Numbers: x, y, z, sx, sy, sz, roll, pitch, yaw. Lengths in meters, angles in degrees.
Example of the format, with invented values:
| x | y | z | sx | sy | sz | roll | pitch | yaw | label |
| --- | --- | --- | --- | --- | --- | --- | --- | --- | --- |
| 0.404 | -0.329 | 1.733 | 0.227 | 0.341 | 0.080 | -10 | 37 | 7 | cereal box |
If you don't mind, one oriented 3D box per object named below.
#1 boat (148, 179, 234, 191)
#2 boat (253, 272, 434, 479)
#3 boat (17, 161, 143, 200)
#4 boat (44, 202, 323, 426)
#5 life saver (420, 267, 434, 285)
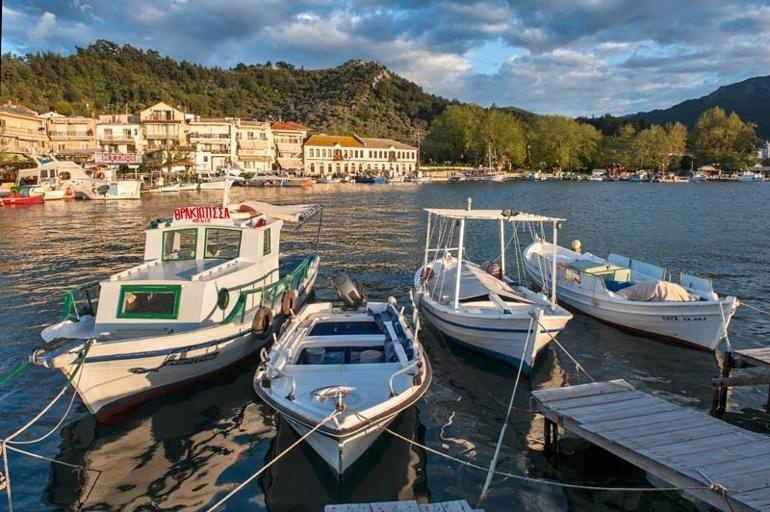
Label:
| x | y | z | sx | sy | sz | roll | pitch | yaw | label |
| --- | --- | --- | --- | --- | --- | --- | --- | --- | --- |
| -29.235 | -10.442 | 80.144 | 9.384 | 1.625 | 2.631 | -6 | 12 | -29 | boat |
| -1.283 | 3.421 | 16.997 | 4.741 | 2.649 | 9.711 | 0 | 13 | -2 | boat |
| -40.397 | -9.287 | 68.041 | 17.942 | 5.417 | 5.175 | -2 | 9 | -28 | boat |
| -6.391 | 1.174 | 18.978 | 5.880 | 3.714 | 10.209 | 8 | 23 | 9 | boat |
| 1.790 | 0.896 | 22.687 | 0.883 | 0.725 | 2.219 | 1 | 2 | 5 | life saver |
